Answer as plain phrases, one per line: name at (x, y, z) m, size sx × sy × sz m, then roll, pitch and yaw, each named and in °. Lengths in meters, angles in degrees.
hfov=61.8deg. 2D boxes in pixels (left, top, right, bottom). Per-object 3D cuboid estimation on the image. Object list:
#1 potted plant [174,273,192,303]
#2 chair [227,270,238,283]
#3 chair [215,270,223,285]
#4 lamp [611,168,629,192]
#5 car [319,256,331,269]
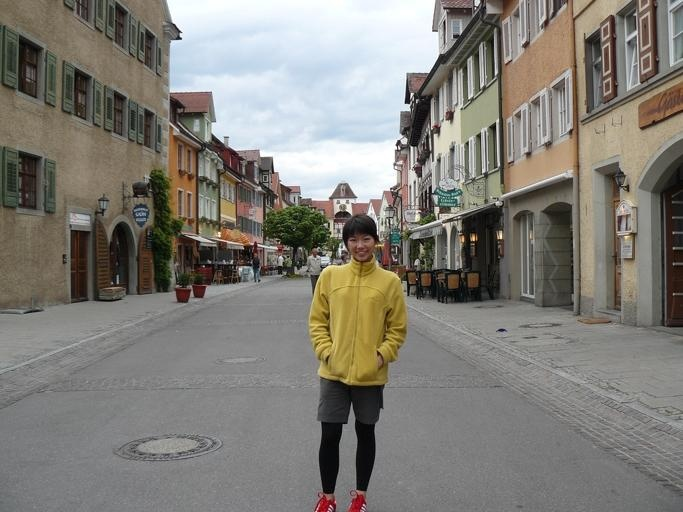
potted plant at (-6.083, 1.269, 21.902) m, size 0.557 × 1.091 × 1.136 m, roll -1°, pitch -3°, yaw -17°
chair at (-7.304, 1.471, 38.839) m, size 0.615 × 1.028 × 0.636 m, roll 0°, pitch -4°, yaw -33°
chair at (-7.984, 1.432, 37.281) m, size 0.561 × 0.968 × 0.608 m, roll 0°, pitch -6°, yaw 0°
lamp at (6.493, -1.737, 13.268) m, size 0.263 × 0.568 × 0.298 m, roll -2°, pitch -3°, yaw 13°
car at (-1.947, 0.618, 66.817) m, size 1.476 × 1.510 × 3.627 m, roll -2°, pitch -5°, yaw 1°
